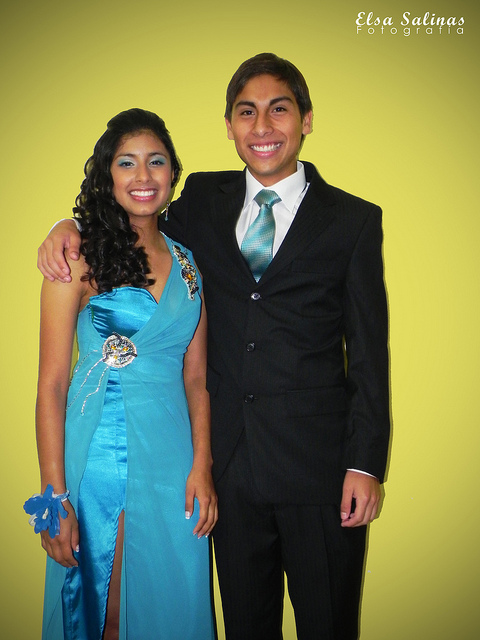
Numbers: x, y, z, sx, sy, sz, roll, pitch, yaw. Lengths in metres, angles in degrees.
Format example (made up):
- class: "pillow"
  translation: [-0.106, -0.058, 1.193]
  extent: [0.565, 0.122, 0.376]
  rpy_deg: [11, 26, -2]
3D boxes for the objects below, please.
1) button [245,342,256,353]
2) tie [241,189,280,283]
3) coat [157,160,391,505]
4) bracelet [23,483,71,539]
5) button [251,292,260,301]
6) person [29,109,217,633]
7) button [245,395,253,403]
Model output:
- class: "button"
  translation: [0.031, 0.075, 1.676]
  extent: [0.025, 0.024, 0.006]
  rpy_deg: [7, -2, 14]
- class: "tie"
  translation: [0.069, -0.254, 1.736]
  extent: [0.098, 0.347, 0.046]
  rpy_deg: [5, 43, -5]
- class: "coat"
  translation: [0.110, 0.031, 1.808]
  extent: [0.633, 0.930, 0.417]
  rpy_deg: [-1, 10, 10]
- class: "bracelet"
  translation: [-0.466, 0.474, 1.523]
  extent: [0.115, 0.132, 0.065]
  rpy_deg: [-7, 11, -25]
- class: "button"
  translation: [0.046, -0.063, 1.687]
  extent: [0.025, 0.024, 0.006]
  rpy_deg: [0, 2, 3]
- class: "person"
  translation: [-0.314, 0.144, 1.704]
  extent: [0.502, 1.426, 0.489]
  rpy_deg: [-4, 10, -8]
- class: "button"
  translation: [0.027, 0.218, 1.686]
  extent: [0.021, 0.020, 0.005]
  rpy_deg: [5, -3, 6]
